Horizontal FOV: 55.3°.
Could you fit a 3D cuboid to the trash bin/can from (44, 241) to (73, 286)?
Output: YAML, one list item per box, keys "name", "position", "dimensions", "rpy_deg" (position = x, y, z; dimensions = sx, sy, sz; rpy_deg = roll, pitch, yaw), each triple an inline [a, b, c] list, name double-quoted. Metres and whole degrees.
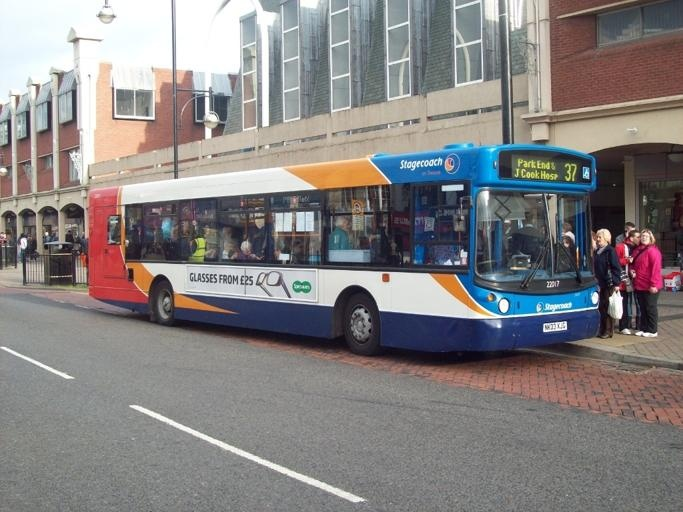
- name: "trash bin/can"
  position: [-12.207, 0.288, 28.072]
  dimensions: [1.231, 1.785, 2.215]
  rpy_deg: [-2, 4, -26]

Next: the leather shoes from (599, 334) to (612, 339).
- name: "leather shoes"
  position: [4.868, 1.468, 11.986]
  dimensions: [0.220, 0.107, 0.084]
  rpy_deg: [0, -2, -26]

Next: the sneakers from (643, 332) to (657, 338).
- name: "sneakers"
  position: [5.682, 1.447, 11.987]
  dimensions: [0.270, 0.130, 0.101]
  rpy_deg: [4, -7, -36]

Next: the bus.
- name: "bus"
  position: [-1.319, -0.037, 14.102]
  dimensions: [10.754, 3.436, 2.832]
  rpy_deg: [1, 0, 39]
